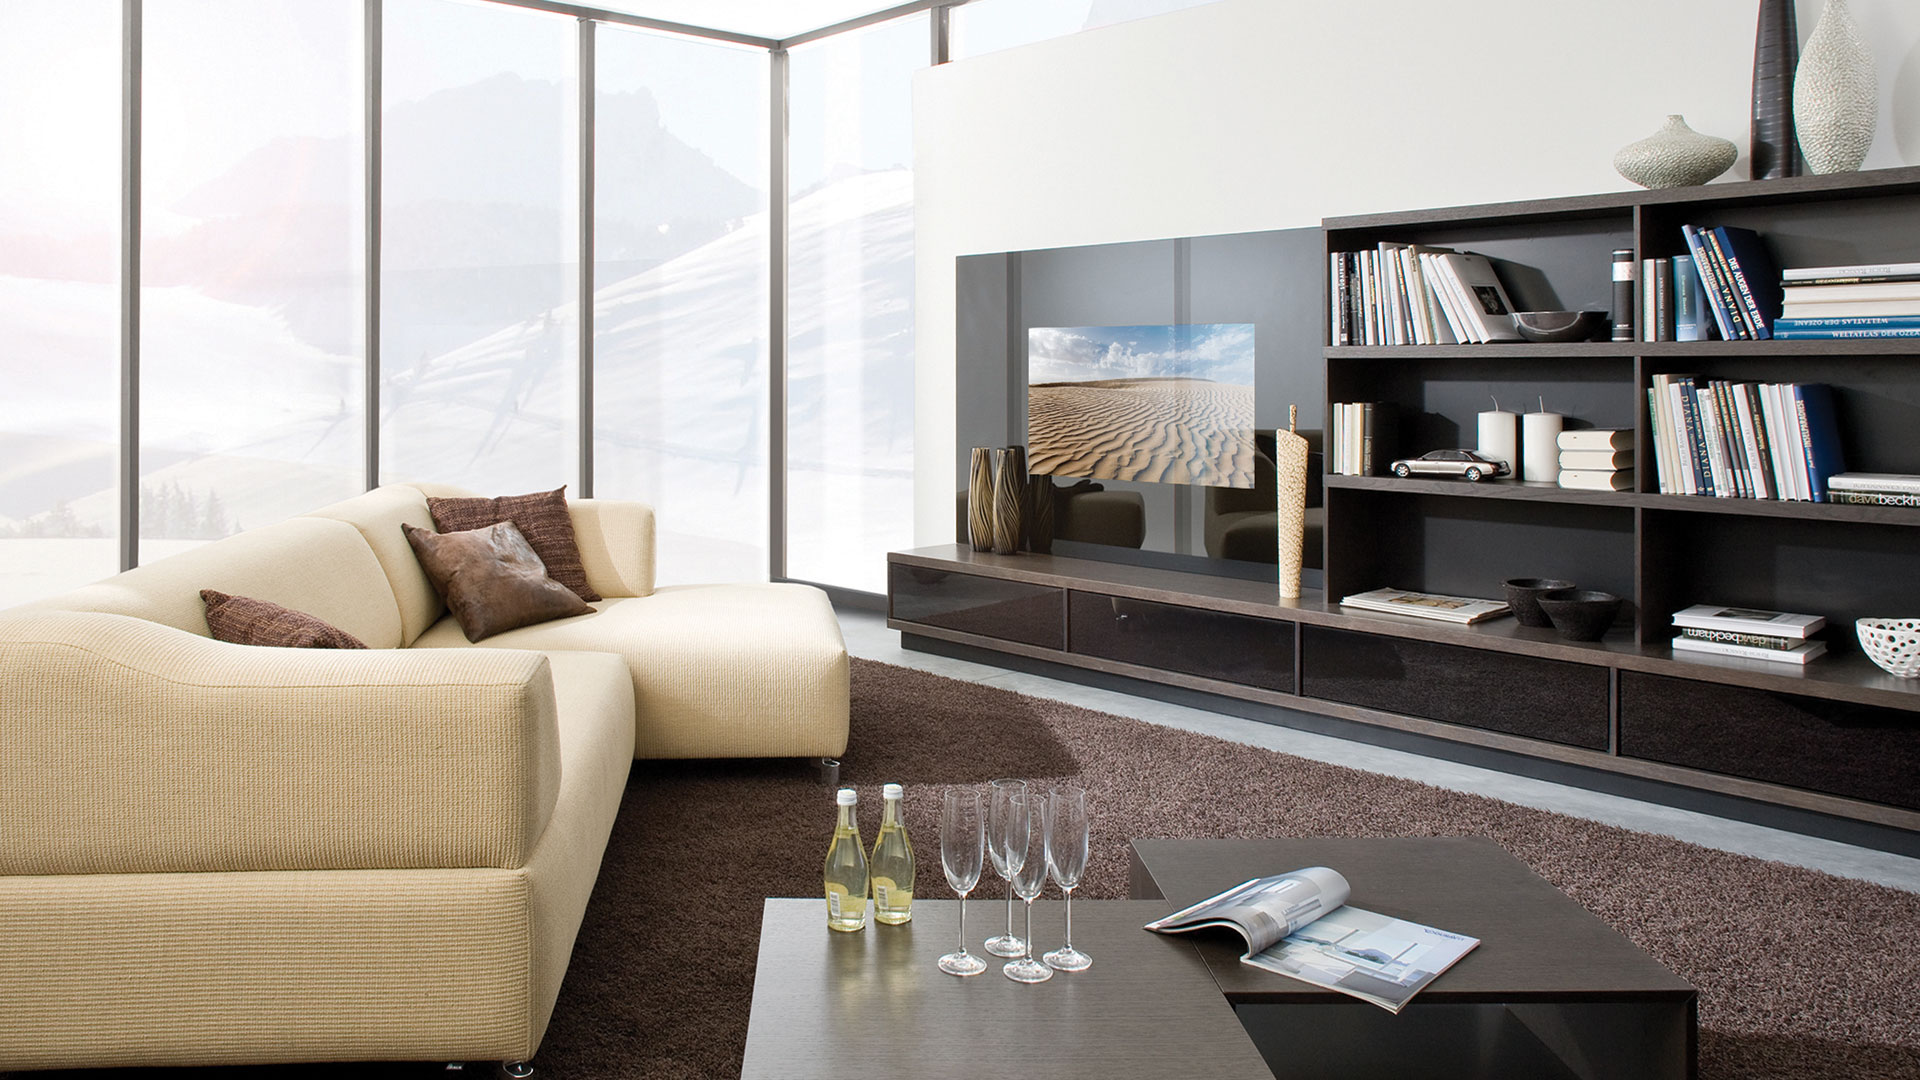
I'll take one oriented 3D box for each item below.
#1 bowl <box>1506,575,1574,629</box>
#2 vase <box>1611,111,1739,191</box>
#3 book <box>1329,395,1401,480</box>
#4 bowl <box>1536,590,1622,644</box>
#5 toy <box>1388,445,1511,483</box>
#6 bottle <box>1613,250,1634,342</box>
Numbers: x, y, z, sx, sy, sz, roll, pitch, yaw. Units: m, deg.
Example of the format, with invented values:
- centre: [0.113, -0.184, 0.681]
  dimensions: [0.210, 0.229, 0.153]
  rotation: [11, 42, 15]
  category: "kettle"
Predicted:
- centre: [2.460, 0.259, 5.393]
  dimensions: [0.238, 0.140, 0.230]
  rotation: [1, 4, 0]
  category: "bowl"
- centre: [2.826, -1.501, 5.045]
  dimensions: [0.431, 0.201, 0.366]
  rotation: [2, 11, 31]
  category: "vase"
- centre: [1.798, -0.445, 5.664]
  dimensions: [0.453, 0.352, 0.238]
  rotation: [-1, 5, -35]
  category: "book"
- centre: [2.575, 0.307, 5.183]
  dimensions: [0.270, 0.122, 0.251]
  rotation: [0, 2, 0]
  category: "bowl"
- centre: [2.106, -0.341, 5.453]
  dimensions: [0.396, 0.099, 0.175]
  rotation: [8, 9, 32]
  category: "toy"
- centre: [2.659, -0.979, 5.119]
  dimensions: [0.068, 0.356, 0.169]
  rotation: [-2, 3, 3]
  category: "bottle"
